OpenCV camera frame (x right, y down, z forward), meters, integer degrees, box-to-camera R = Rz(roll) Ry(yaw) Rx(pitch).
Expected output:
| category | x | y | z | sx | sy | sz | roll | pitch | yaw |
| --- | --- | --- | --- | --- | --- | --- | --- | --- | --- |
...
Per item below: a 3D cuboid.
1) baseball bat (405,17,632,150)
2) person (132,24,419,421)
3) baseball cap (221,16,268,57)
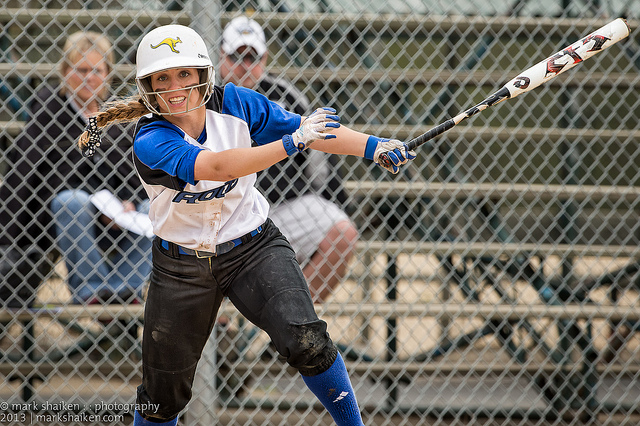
| category | x | y | z | sx | sy | sz | roll | pitch | yaw |
| --- | --- | --- | --- | --- | --- | --- | --- | --- | --- |
| baseball bat | 1.432 | -0.913 | 7.078 | 1.748 | 0.138 | 0.126 | -33 | -21 | -2 |
| person | -0.452 | 0.124 | 5.749 | 1.270 | 2.315 | 0.597 | 1 | 8 | -10 |
| baseball cap | -0.530 | -1.216 | 6.865 | 0.312 | 0.272 | 0.317 | 2 | 9 | -6 |
